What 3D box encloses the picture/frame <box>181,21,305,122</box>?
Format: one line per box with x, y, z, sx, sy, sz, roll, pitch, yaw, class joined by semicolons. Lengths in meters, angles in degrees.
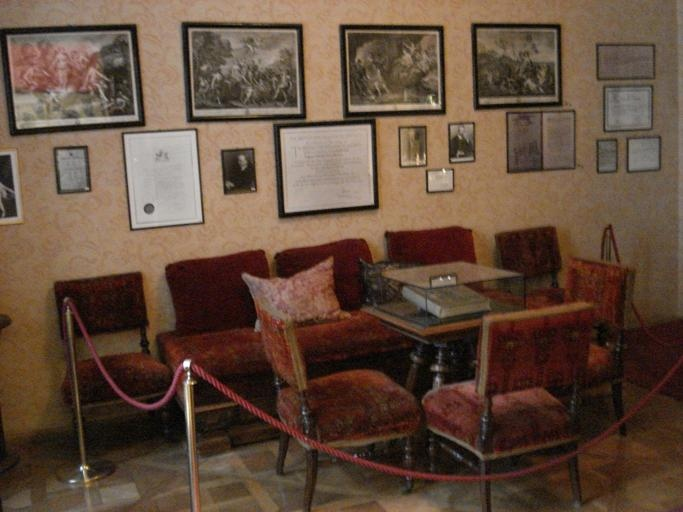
-0.979;-1.791;5.423;1.015;0.789;0.044;-4;8;-20;picture/frame

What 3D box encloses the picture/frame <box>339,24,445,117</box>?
0.479;-1.953;5.883;1.019;0.756;0.040;-3;7;-15;picture/frame

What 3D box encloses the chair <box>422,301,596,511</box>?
1.054;0.770;3.575;0.957;0.997;0.553;-5;10;-4;chair

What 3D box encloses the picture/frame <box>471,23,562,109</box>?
1.899;-2.152;6.321;0.987;0.792;0.064;-4;9;-18;picture/frame

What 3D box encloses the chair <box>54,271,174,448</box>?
-1.955;0.874;4.950;0.803;1.328;0.915;-9;11;-25;chair

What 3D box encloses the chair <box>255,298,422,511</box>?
-0.020;0.815;4.436;1.315;1.695;1.229;-7;12;-21;chair
